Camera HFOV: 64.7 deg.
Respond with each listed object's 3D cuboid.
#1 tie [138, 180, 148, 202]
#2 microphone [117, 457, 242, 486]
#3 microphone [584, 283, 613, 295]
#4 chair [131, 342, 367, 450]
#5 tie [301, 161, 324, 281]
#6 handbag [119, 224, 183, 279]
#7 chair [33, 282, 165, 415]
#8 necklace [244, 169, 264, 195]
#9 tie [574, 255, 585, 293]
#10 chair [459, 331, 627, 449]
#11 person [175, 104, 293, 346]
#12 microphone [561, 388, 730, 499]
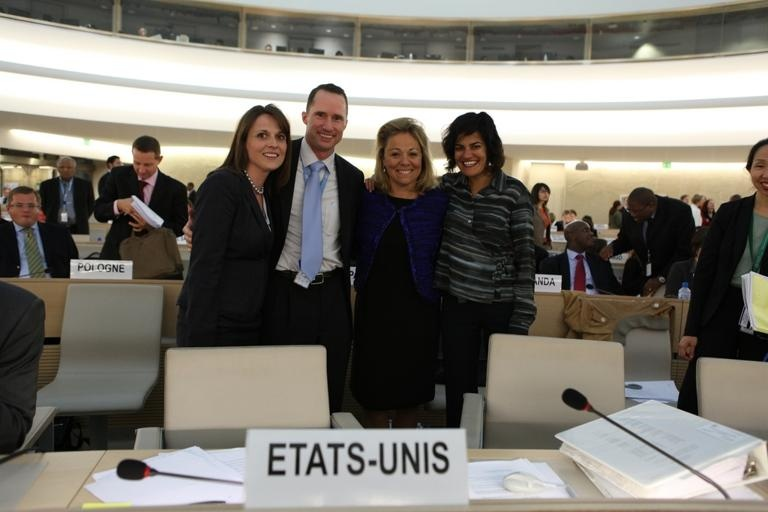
[{"bbox_3d":[-1.739,-0.472,4.388,0.044,0.181,0.053,1,-12,-12],"label":"tie"},{"bbox_3d":[-0.686,0.727,2.027,0.380,0.031,0.073,14,32,-10],"label":"microphone"},{"bbox_3d":[1.584,0.261,4.507,0.104,0.050,0.138,6,-4,-31],"label":"microphone"},{"bbox_3d":[-0.741,0.655,2.623,0.443,0.516,0.445,-19,-29,28],"label":"chair"},{"bbox_3d":[-0.352,-0.184,3.051,0.111,0.578,0.178,2,6,-6],"label":"tie"},{"bbox_3d":[-1.486,-0.016,3.845,0.348,0.324,0.149,-8,-3,2],"label":"handbag"},{"bbox_3d":[-1.609,0.659,3.454,0.646,0.844,0.713,1,6,-6],"label":"chair"},{"bbox_3d":[-0.632,-0.361,2.981,0.108,0.028,0.081,45,-3,-2],"label":"necklace"},{"bbox_3d":[1.477,0.127,4.560,0.088,0.251,0.129,4,6,15],"label":"tie"},{"bbox_3d":[0.698,0.572,2.987,0.651,0.865,0.520,4,-3,5],"label":"chair"},{"bbox_3d":[-0.729,-0.152,2.927,0.338,1.184,0.477,5,6,29],"label":"person"},{"bbox_3d":[0.914,0.669,2.129,0.673,0.067,0.100,33,-19,50],"label":"microphone"}]
